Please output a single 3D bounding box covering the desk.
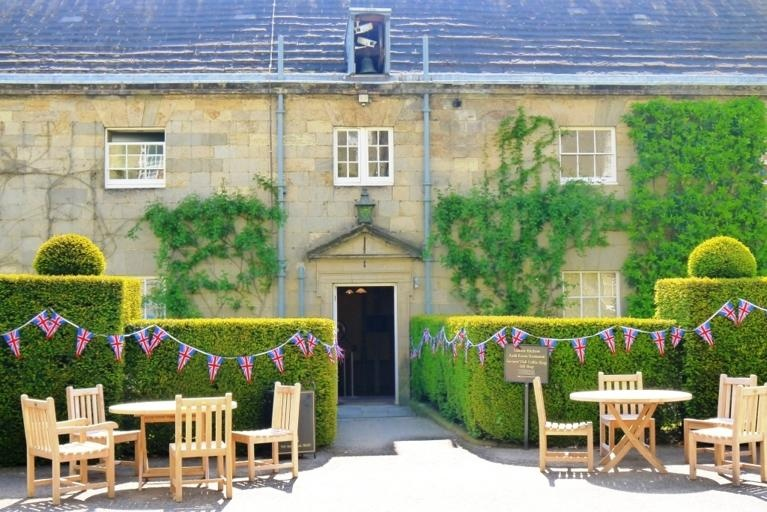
[{"bbox_3d":[4.750,3.376,28.750,1.811,1.087,1.767,-1,-6,9],"label":"desk"}]
